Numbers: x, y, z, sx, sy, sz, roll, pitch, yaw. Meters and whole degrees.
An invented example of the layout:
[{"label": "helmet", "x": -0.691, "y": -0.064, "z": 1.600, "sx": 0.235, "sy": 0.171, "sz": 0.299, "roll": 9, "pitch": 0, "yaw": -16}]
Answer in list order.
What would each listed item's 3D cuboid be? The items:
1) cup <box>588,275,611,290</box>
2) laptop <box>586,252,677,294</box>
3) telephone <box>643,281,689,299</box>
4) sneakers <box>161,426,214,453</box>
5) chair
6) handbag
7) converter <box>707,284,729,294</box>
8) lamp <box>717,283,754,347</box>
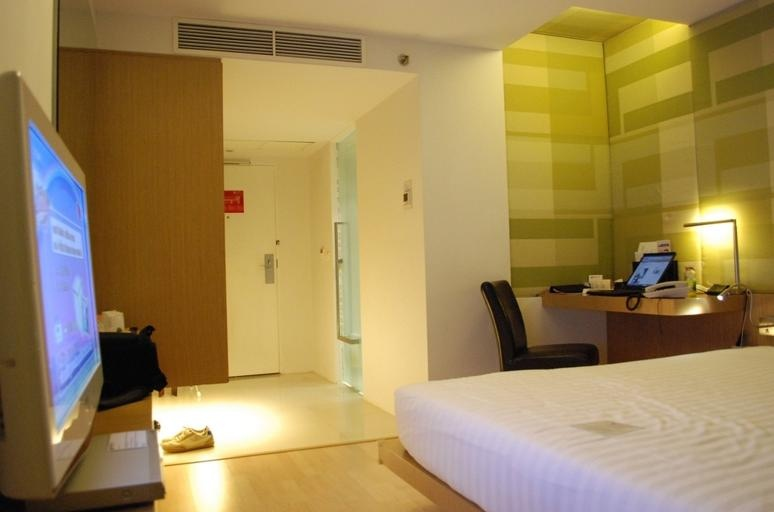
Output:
[{"label": "cup", "x": 1.818, "y": 0.220, "z": 4.762, "sx": 0.175, "sy": 0.128, "sz": 0.120, "roll": 0, "pitch": 0, "yaw": -13}, {"label": "laptop", "x": 1.970, "y": 0.139, "z": 4.407, "sx": 0.432, "sy": 0.282, "sz": 0.452, "roll": -1, "pitch": -4, "yaw": -10}, {"label": "telephone", "x": 1.971, "y": 0.239, "z": 3.941, "sx": 0.196, "sy": 0.086, "sz": 0.147, "roll": 5, "pitch": -3, "yaw": 12}, {"label": "sneakers", "x": -1.466, "y": 1.360, "z": 4.142, "sx": 0.276, "sy": 0.105, "sz": 0.205, "roll": 3, "pitch": -4, "yaw": -16}, {"label": "chair", "x": 1.131, "y": 0.516, "z": 4.477, "sx": 0.884, "sy": 0.986, "sz": 0.566, "roll": -4, "pitch": -1, "yaw": 12}, {"label": "handbag", "x": -1.134, "y": 0.485, "z": 2.507, "sx": 0.243, "sy": 0.310, "sz": 0.260, "roll": -2, "pitch": 2, "yaw": -42}, {"label": "converter", "x": 2.412, "y": 0.243, "z": 4.104, "sx": 0.096, "sy": 0.028, "sz": 0.093, "roll": -30, "pitch": 18, "yaw": -38}, {"label": "lamp", "x": 2.470, "y": 0.437, "z": 4.007, "sx": 0.274, "sy": 0.436, "sz": 0.097, "roll": -1, "pitch": 4, "yaw": -21}]
